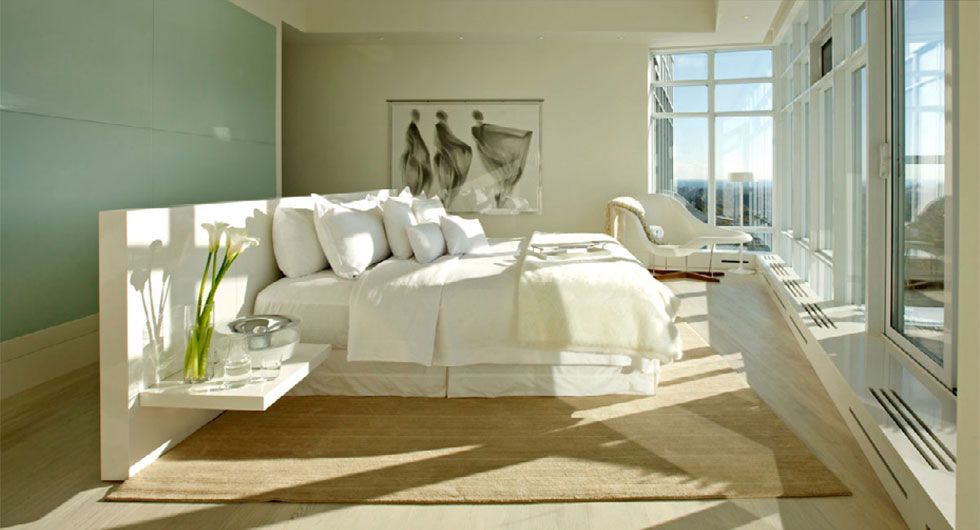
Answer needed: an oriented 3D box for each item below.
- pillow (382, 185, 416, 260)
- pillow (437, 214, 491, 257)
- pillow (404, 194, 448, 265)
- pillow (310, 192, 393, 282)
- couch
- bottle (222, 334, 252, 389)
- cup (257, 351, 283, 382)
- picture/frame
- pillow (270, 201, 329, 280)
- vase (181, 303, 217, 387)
[{"bbox_3d":[-0.846,-0.374,5.853,0.184,0.417,0.703,-11,10,6],"label":"pillow"},{"bbox_3d":[-0.284,-0.302,5.955,0.149,0.367,0.546,-19,-6,26],"label":"pillow"},{"bbox_3d":[-0.597,-0.351,5.845,0.183,0.556,0.593,-5,-3,22],"label":"pillow"},{"bbox_3d":[-1.175,-0.352,5.855,0.596,0.530,1.330,21,15,10],"label":"pillow"},{"bbox_3d":[2.520,-0.392,8.131,1.715,1.115,1.496,-1,5,22],"label":"couch"},{"bbox_3d":[-1.769,0.705,4.527,0.204,0.321,0.359,-4,-4,-43],"label":"bottle"},{"bbox_3d":[-1.634,0.731,4.604,0.208,0.185,0.196,0,-7,0],"label":"cup"},{"bbox_3d":[-0.287,-1.618,8.953,2.169,1.426,0.070,0,2,1],"label":"picture/frame"},{"bbox_3d":[-1.704,-0.262,5.577,0.356,0.597,0.706,20,13,0],"label":"pillow"},{"bbox_3d":[-2.097,0.564,4.531,0.211,0.540,0.166,-4,12,-10],"label":"vase"}]
